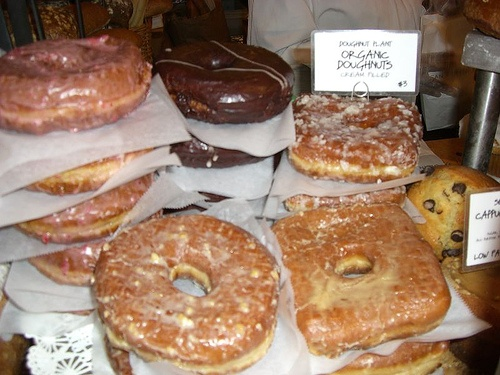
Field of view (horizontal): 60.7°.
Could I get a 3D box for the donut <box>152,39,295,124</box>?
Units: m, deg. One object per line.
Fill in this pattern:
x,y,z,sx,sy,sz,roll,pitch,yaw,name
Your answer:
-0.082,-0.330,1.408,0.499,0.171,0.510,8,24,39,donut

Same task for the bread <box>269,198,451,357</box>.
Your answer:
0.253,0.197,1.020,0.348,0.171,0.313,-9,31,-6,bread

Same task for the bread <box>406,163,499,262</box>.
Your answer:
0.526,0.052,1.155,0.221,0.079,0.258,-7,65,19,bread

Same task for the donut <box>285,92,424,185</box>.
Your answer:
0.316,-0.140,1.288,0.379,0.205,0.378,1,32,12,donut
